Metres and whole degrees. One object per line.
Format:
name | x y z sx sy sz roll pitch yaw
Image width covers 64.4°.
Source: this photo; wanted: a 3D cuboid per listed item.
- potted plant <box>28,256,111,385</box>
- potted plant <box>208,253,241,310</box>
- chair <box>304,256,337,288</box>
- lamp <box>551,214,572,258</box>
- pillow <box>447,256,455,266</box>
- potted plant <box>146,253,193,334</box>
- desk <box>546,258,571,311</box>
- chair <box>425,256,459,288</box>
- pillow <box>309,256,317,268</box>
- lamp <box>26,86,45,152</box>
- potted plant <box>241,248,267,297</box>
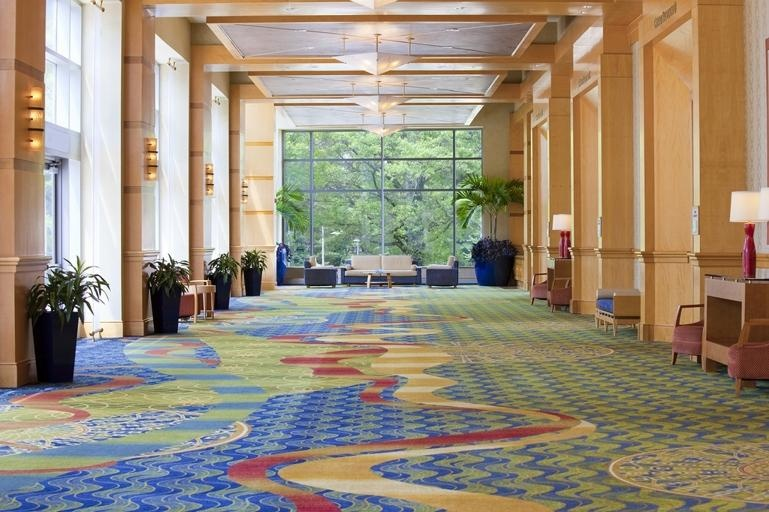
potted plant | -4.169 0.734 8.156 0.857 1.437 2.306 -1 2 -24
potted plant | -3.876 0.600 14.601 0.675 1.274 1.124 -1 2 -14
chair | -2.255 0.568 21.688 1.182 0.918 1.345 0 1 -1
lamp | 4.335 -0.497 14.938 0.416 1.068 0.781 1 2 14
pillow | 2.406 0.189 21.814 0.363 0.319 0.566 0 0 4
potted plant | -3.848 0.699 10.885 0.627 1.298 0.544 0 3 -5
desk | 4.053 0.667 14.121 0.561 0.987 1.349 -2 4 1
chair | 2.106 0.572 21.942 1.320 1.067 1.182 1 -5 4
pillow | -2.557 0.214 21.860 0.427 0.414 0.359 2 3 -8
lamp | -4.143 -1.645 7.275 0.118 0.752 0.190 1 3 16
potted plant | -3.902 0.502 18.079 0.644 1.294 0.561 0 3 -5
